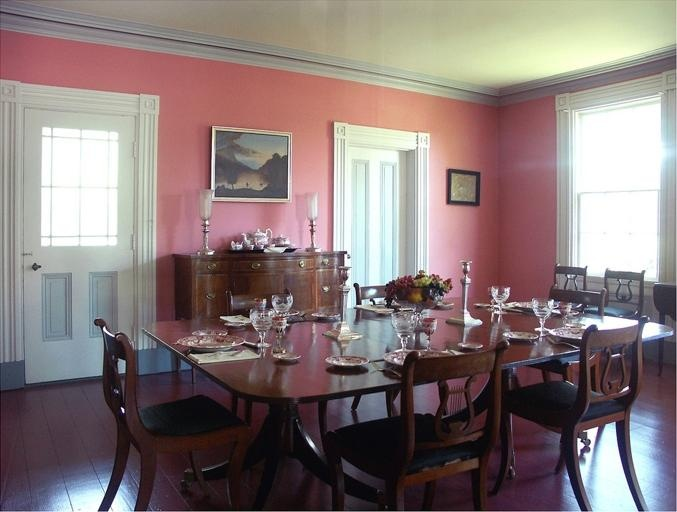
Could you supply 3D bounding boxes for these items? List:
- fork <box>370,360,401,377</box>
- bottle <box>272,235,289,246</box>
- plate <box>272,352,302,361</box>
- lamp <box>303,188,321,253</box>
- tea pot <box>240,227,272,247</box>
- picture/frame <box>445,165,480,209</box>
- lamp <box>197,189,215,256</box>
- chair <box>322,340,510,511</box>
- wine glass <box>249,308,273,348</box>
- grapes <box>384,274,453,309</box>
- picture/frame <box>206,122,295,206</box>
[{"bbox_3d":[0.214,0.522,2.325,0.045,0.038,0.243,-1,-1,-22],"label":"fork"},{"bbox_3d":[-0.570,-0.135,4.988,0.165,0.100,0.188,-2,2,-22],"label":"bottle"},{"bbox_3d":[-0.257,0.504,2.457,0.139,0.027,0.121,-1,2,-6],"label":"plate"},{"bbox_3d":[-0.278,-0.361,5.275,0.141,0.631,0.454,-1,3,-3],"label":"lamp"},{"bbox_3d":[-0.794,-0.175,4.984,0.178,0.153,0.268,-1,-3,42],"label":"tea pot"},{"bbox_3d":[1.633,-0.881,6.478,0.038,0.433,0.468,-12,18,-38],"label":"picture/frame"},{"bbox_3d":[-1.260,-0.321,4.714,0.138,0.623,0.479,-2,3,-14],"label":"lamp"},{"bbox_3d":[0.341,0.867,2.357,0.752,0.961,0.533,-2,3,-20],"label":"chair"},{"bbox_3d":[-0.418,0.380,2.671,0.109,0.204,0.390,-1,2,-9],"label":"wine glass"},{"bbox_3d":[0.493,0.234,3.083,0.276,0.133,0.285,-2,-2,18],"label":"grapes"},{"bbox_3d":[-0.946,-0.937,5.068,0.907,0.799,0.066,1,-1,-29],"label":"picture/frame"}]
